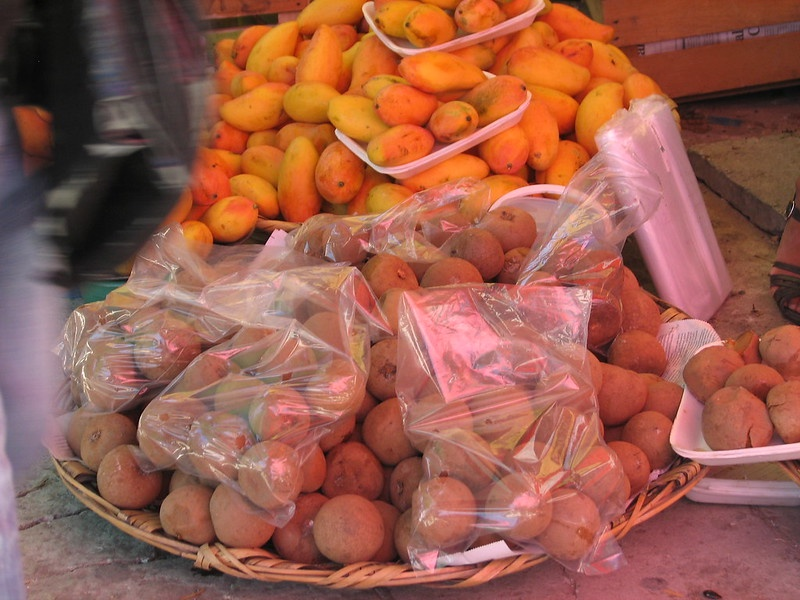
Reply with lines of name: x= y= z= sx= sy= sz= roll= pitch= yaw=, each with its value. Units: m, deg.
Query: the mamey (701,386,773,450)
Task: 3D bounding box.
mamey: x=0.629 y=0.204 z=1.260 sx=0.130 sy=0.168 sz=0.099 roll=-19 pitch=66 yaw=31

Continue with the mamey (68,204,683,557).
mamey: x=-0.088 y=0.175 z=1.168 sx=0.691 sy=0.273 sz=0.637 roll=20 pitch=32 yaw=33

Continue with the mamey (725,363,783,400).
mamey: x=0.636 y=0.139 z=1.275 sx=0.061 sy=0.045 sz=0.076 roll=1 pitch=-1 yaw=20

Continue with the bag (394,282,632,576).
bag: x=0.170 y=0.201 z=1.167 sx=0.357 sy=0.190 sz=0.491 roll=-6 pitch=64 yaw=-4

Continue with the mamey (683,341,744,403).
mamey: x=0.611 y=0.132 z=1.367 sx=0.132 sy=0.082 sz=0.102 roll=10 pitch=16 yaw=20

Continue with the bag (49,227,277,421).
bag: x=-0.398 y=0.075 z=1.365 sx=0.261 sy=0.141 sz=0.406 roll=20 pitch=53 yaw=42

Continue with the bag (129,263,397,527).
bag: x=-0.226 y=0.141 z=1.234 sx=0.362 sy=0.176 sz=0.510 roll=17 pitch=48 yaw=16
